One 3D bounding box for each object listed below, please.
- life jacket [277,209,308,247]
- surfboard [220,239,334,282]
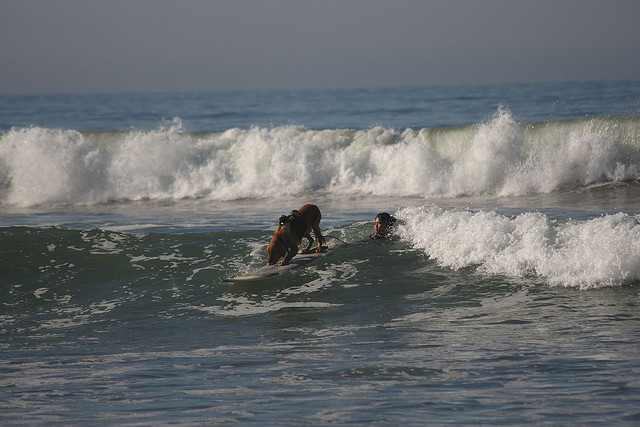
[{"bbox_3d":[-0.504,0.300,21.977,0.590,0.706,0.226,2,2,-12],"label":"life jacket"},{"bbox_3d":[-0.816,0.958,22.292,2.142,0.212,0.381,-18,10,-38],"label":"surfboard"}]
